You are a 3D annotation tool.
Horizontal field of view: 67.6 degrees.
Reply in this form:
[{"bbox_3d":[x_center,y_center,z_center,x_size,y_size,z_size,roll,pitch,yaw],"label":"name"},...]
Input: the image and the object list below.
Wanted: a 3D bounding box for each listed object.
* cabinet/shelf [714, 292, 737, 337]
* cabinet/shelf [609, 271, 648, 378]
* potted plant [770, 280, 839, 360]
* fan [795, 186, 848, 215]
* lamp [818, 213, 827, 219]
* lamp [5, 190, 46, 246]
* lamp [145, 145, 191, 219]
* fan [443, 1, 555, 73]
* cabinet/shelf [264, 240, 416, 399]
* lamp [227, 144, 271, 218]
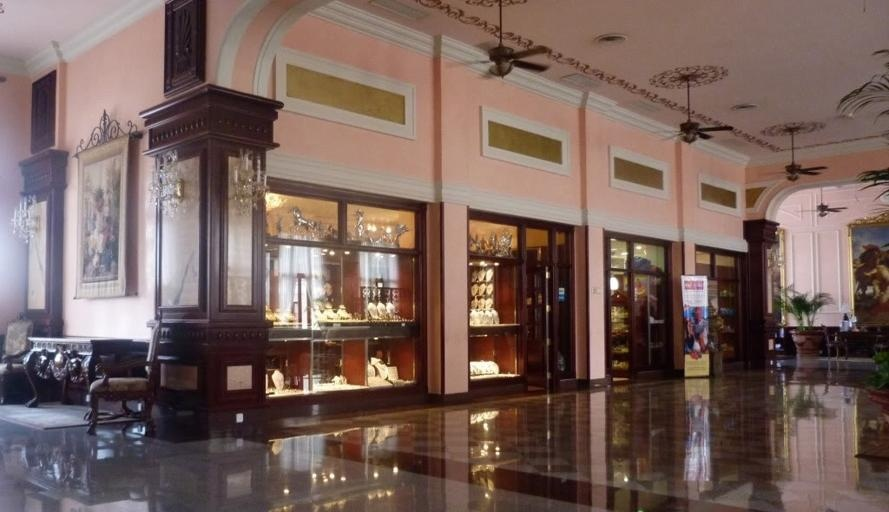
[{"bbox_3d":[8.681,1.790,20.601,0.440,1.281,1.345,-9,-14,43],"label":"cabinet/shelf"},{"bbox_3d":[4.939,1.753,17.738,1.409,2.892,0.459,-1,3,-36],"label":"cabinet/shelf"},{"bbox_3d":[13.765,2.425,25.842,2.477,2.521,2.561,-1,-1,-23],"label":"potted plant"},{"bbox_3d":[14.135,-2.091,24.727,1.280,0.841,1.244,-1,3,-28],"label":"fan"},{"bbox_3d":[13.440,-1.453,23.572,0.339,0.158,0.340,-4,-4,41],"label":"lamp"},{"bbox_3d":[-8.949,-0.817,14.250,0.528,1.081,1.198,-1,3,-36],"label":"lamp"},{"bbox_3d":[-4.904,-1.270,11.613,0.366,1.134,0.953,-2,4,-43],"label":"lamp"},{"bbox_3d":[1.029,-4.401,13.209,1.824,1.956,1.513,-1,5,-19],"label":"fan"},{"bbox_3d":[-2.106,1.217,12.673,3.361,2.702,1.075,-2,1,-39],"label":"cabinet/shelf"},{"bbox_3d":[-3.351,-1.267,11.306,0.596,1.079,0.220,0,3,-17],"label":"lamp"}]
